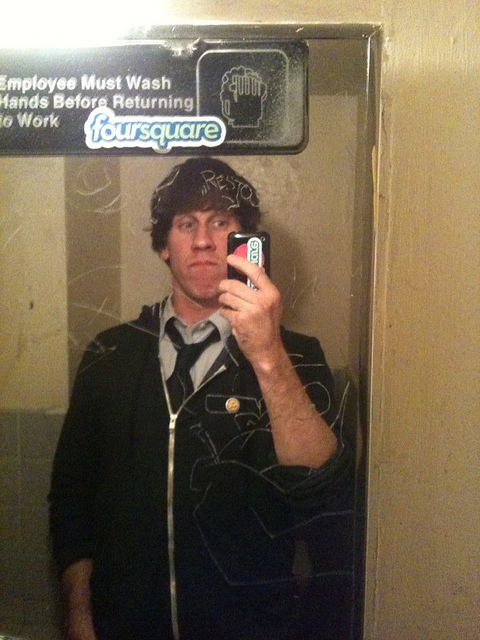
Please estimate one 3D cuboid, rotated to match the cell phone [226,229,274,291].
[{"bbox_3d":[0.020,-0.120,1.211,0.090,0.181,0.022,0,6,0],"label":"cell phone"}]
